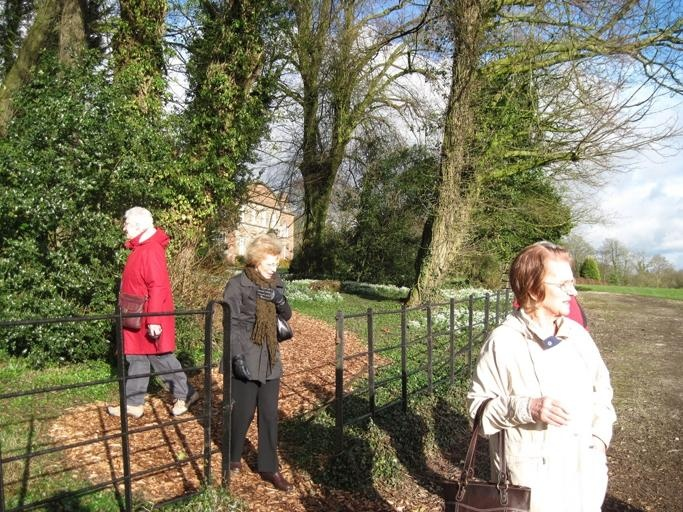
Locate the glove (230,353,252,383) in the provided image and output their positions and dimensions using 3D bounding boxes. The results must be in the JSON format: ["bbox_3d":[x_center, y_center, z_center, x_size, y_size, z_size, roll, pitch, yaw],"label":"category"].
[{"bbox_3d":[-1.061,1.133,5.314,0.177,0.261,0.081,-25,-1,-25],"label":"glove"}]

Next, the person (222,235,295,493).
[{"bbox_3d":[-0.913,1.113,5.488,0.739,2.371,0.463,2,1,-18],"label":"person"}]

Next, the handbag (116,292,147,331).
[{"bbox_3d":[-2.638,0.669,6.342,0.382,0.430,0.150,7,-12,10],"label":"handbag"}]
